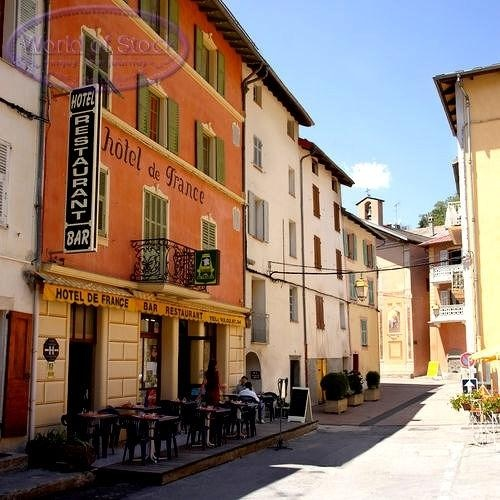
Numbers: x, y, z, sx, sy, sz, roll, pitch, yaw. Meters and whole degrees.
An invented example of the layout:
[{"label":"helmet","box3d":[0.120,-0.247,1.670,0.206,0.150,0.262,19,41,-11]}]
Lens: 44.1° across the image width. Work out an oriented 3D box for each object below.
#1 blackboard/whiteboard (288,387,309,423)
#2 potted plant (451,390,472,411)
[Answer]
[{"label":"blackboard/whiteboard","box3d":[1.414,4.489,17.970,0.576,1.089,0.596,5,3,25]},{"label":"potted plant","box3d":[6.177,4.389,17.899,0.410,0.478,1.767,-3,-16,5]}]
